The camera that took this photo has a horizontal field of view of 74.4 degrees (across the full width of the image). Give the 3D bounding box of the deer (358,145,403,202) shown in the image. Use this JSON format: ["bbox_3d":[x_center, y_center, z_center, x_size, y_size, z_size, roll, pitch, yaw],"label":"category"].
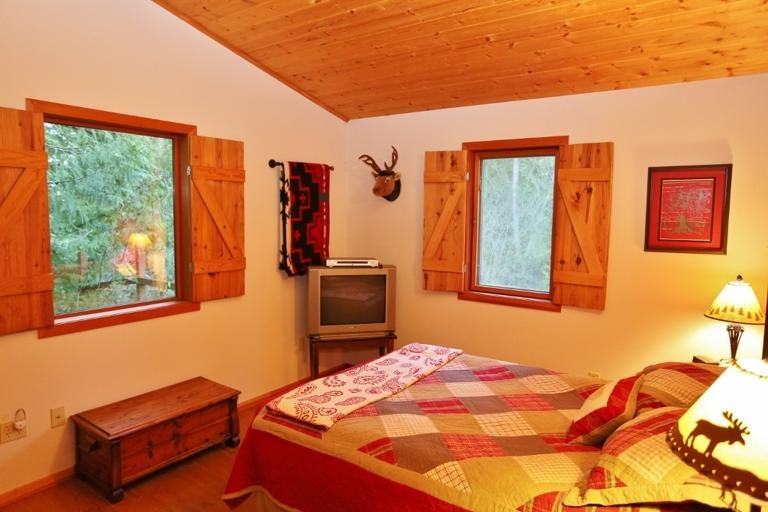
[{"bbox_3d":[-0.038,-0.912,5.574,0.445,0.612,0.386,0,5,3],"label":"deer"}]

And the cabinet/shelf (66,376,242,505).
[{"bbox_3d":[-1.839,1.443,4.169,0.584,0.472,1.145,9,11,36],"label":"cabinet/shelf"}]

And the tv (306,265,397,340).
[{"bbox_3d":[-0.187,0.511,5.367,1.114,0.711,0.587,-4,-8,25],"label":"tv"}]

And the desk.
[{"bbox_3d":[-0.346,1.130,5.313,0.829,0.679,0.335,-1,10,-14],"label":"desk"}]
